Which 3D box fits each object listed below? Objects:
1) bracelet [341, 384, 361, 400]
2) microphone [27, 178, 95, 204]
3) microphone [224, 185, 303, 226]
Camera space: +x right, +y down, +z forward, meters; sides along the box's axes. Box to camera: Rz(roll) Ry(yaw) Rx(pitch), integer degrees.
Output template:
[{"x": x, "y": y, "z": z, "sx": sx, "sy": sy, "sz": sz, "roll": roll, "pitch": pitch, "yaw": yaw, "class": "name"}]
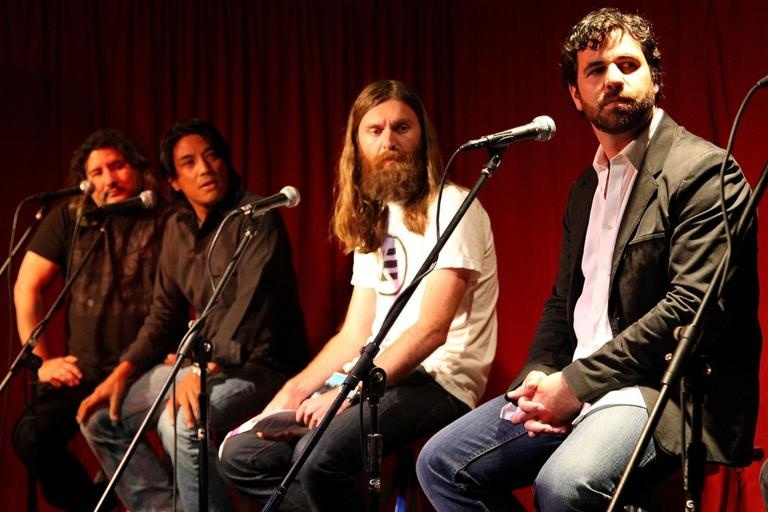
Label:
[{"x": -0.158, "y": 0.693, "z": 3.825, "sx": 0.064, "sy": 0.093, "sz": 0.161, "roll": 1, "pitch": -5, "yaw": -4, "class": "bracelet"}, {"x": -2.134, "y": -0.430, "z": 5.024, "sx": 0.446, "sy": 0.117, "sz": 0.126, "roll": -11, "pitch": 23, "yaw": -41, "class": "microphone"}, {"x": -0.750, "y": -0.307, "z": 4.684, "sx": 0.473, "sy": 0.154, "sz": 0.155, "roll": -25, "pitch": 9, "yaw": -26, "class": "microphone"}]
